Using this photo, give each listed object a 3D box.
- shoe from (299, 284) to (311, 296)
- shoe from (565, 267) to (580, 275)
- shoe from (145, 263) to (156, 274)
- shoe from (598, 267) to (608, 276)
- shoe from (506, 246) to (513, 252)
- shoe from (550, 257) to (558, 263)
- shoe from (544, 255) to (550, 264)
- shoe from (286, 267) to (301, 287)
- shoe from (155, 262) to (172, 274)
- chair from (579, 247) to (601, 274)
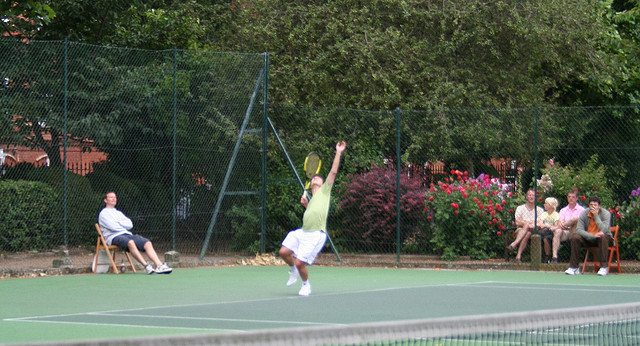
[{"bbox_3d":[-0.363,2.793,19.305,0.211,0.233,0.548,0,-9,7],"label":"shoe"},{"bbox_3d":[6.920,2.626,21.721,0.452,0.194,0.151,16,-2,-40],"label":"shoe"},{"bbox_3d":[-4.533,2.508,21.209,0.268,0.332,0.469,-2,7,-14],"label":"shoe"},{"bbox_3d":[7.681,2.612,21.517,0.300,0.208,0.131,-2,7,-16],"label":"shoe"},{"bbox_3d":[5.455,2.132,22.884,0.180,0.203,0.302,2,7,13],"label":"shoe"},{"bbox_3d":[6.618,2.395,22.513,0.189,0.163,0.199,2,7,15],"label":"shoe"},{"bbox_3d":[6.430,2.379,22.571,0.126,0.204,0.196,3,7,23],"label":"shoe"},{"bbox_3d":[-0.611,2.506,19.838,0.214,0.283,0.653,-2,5,16],"label":"shoe"},{"bbox_3d":[-4.203,2.489,21.145,0.519,0.258,0.192,-2,-5,22],"label":"shoe"},{"bbox_3d":[7.513,2.350,22.021,0.695,0.894,0.702,-1,-13,16],"label":"chair"}]
